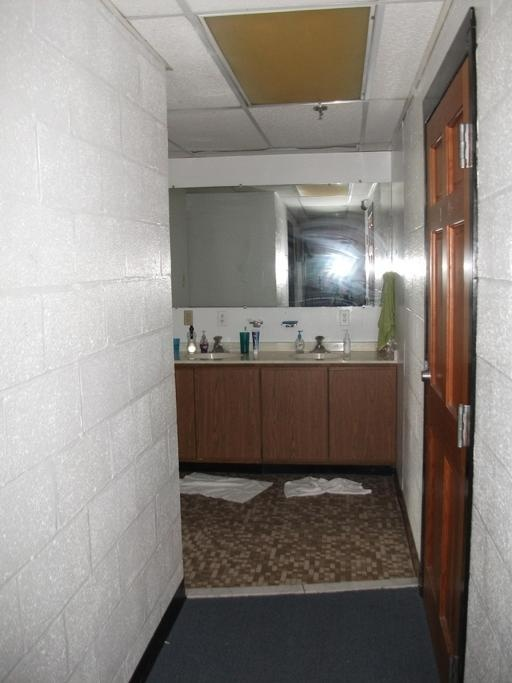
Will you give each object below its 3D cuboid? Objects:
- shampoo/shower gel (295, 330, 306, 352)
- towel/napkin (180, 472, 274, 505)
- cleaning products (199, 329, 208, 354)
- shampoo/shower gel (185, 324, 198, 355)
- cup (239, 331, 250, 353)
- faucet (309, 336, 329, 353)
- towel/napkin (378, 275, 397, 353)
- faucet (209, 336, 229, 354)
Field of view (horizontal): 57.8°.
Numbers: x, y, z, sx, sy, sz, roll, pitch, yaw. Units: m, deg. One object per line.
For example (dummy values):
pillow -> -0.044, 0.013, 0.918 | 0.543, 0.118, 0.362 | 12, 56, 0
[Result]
shampoo/shower gel -> 0.369, 0.007, 4.019 | 0.084, 0.191, 0.286 | -1, 2, 6
towel/napkin -> -0.268, 1.090, 3.465 | 0.714, 0.031, 0.453 | -1, 2, 23
cleaning products -> -0.464, 0.014, 4.113 | 0.086, 0.189, 0.240 | -1, 2, -8
shampoo/shower gel -> -0.585, -0.014, 4.172 | 0.098, 0.270, 0.241 | -1, 2, -10
cup -> -0.103, 0.016, 4.083 | 0.085, 0.191, 0.133 | -1, 2, -3
faucet -> 0.535, 0.042, 3.973 | 0.125, 0.167, 0.143 | -3, 3, -12
towel/napkin -> 1.036, -0.224, 3.705 | 0.112, 0.654, 0.214 | -1, 2, -1
faucet -> -0.328, 0.034, 4.103 | 0.168, 0.146, 0.257 | -2, 2, -6
